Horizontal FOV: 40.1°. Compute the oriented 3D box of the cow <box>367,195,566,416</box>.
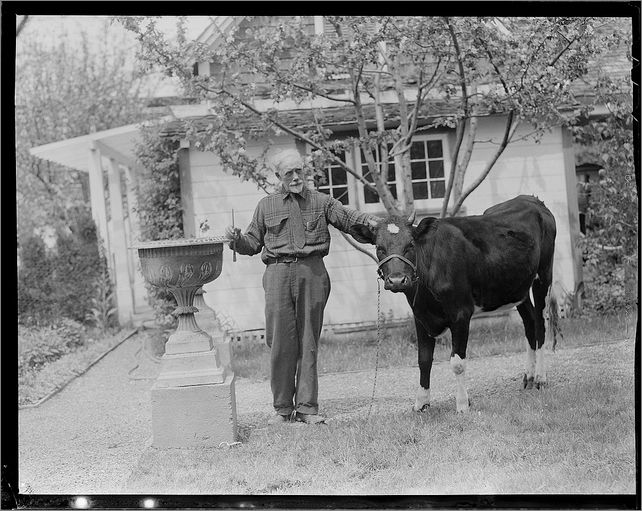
[{"bbox_3d":[1.602,0.538,9.295,2.699,2.297,0.840,-6,10,-34],"label":"cow"}]

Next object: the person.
[{"bbox_3d":[-0.242,0.315,8.822,1.110,2.688,0.553,-3,10,1],"label":"person"}]

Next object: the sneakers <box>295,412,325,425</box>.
[{"bbox_3d":[-0.109,1.627,8.812,0.229,0.122,0.128,-3,-1,18],"label":"sneakers"}]

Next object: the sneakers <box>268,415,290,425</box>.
[{"bbox_3d":[-0.399,1.668,8.911,0.172,0.082,0.108,4,-10,3],"label":"sneakers"}]

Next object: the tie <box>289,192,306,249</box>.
[{"bbox_3d":[-0.220,-0.335,8.789,0.136,0.527,0.224,-6,10,-13],"label":"tie"}]
